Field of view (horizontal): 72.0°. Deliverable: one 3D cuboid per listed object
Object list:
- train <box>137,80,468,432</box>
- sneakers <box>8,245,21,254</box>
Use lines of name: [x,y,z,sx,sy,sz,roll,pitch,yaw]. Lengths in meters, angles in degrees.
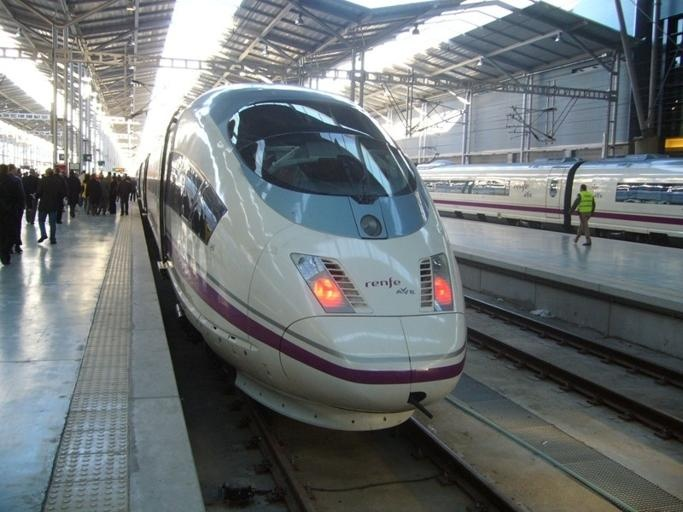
train: [-0.393,-0.140,4.665,1.553,3.275,3.372,-6,15,-44]
sneakers: [-6.779,-0.150,9.669,0.177,0.181,0.479,-3,9,-30]
